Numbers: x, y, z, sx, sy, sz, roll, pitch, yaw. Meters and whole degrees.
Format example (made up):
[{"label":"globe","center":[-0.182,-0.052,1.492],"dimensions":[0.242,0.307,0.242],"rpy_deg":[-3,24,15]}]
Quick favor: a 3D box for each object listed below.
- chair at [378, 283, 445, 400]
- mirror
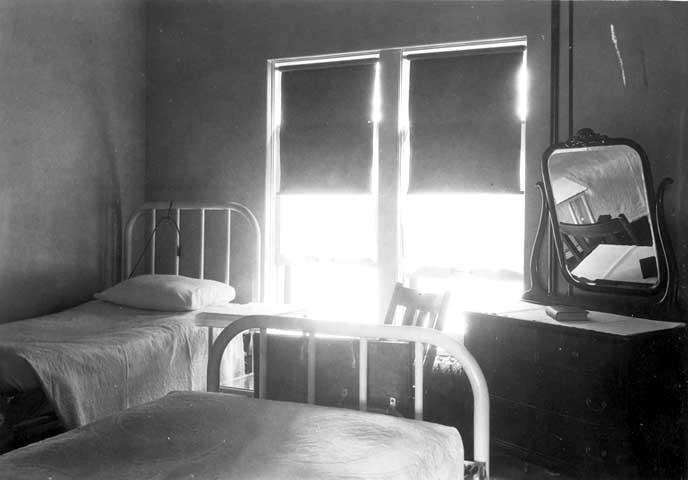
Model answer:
[{"label":"chair","center":[0.300,0.349,2.659],"dimensions":[0.239,0.430,0.328],"rpy_deg":[4,-8,27]},{"label":"mirror","center":[1.117,-0.064,2.744],"dimensions":[0.065,0.917,0.782],"rpy_deg":[-7,7,-44]}]
